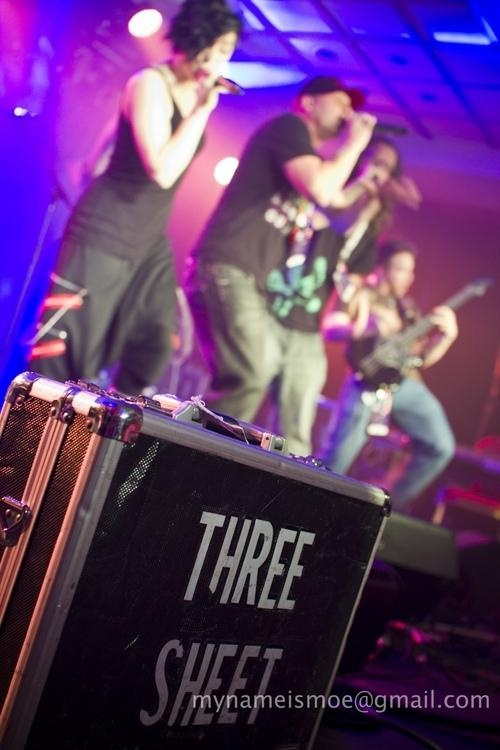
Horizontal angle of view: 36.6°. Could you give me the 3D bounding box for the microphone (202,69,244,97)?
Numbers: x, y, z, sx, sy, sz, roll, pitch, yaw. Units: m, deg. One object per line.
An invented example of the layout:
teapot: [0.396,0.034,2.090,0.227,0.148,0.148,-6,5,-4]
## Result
microphone: [-0.151,-1.581,4.094,0.275,0.079,0.057,19,89,-3]

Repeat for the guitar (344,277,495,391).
guitar: [0.831,-0.199,3.783,0.890,0.098,0.323,-42,86,-11]

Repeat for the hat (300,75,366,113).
hat: [0.448,-1.490,3.953,0.274,0.190,0.070,14,88,4]
